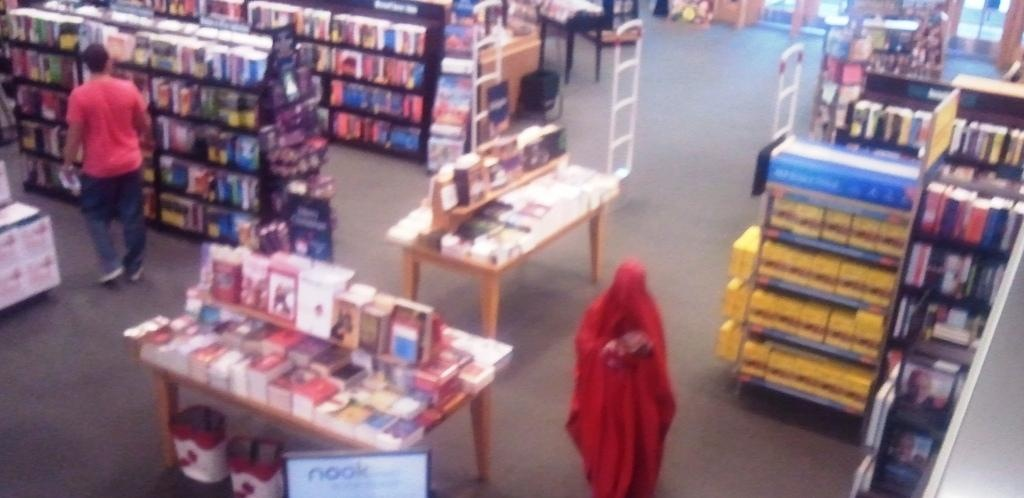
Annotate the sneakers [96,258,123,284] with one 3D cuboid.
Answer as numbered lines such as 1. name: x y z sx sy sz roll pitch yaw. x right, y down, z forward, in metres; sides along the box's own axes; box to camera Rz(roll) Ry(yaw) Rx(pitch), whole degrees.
1. sneakers: -5.615 0.304 11.167 0.425 0.171 0.223 -25 38 3

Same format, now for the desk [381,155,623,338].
1. desk: -0.076 0.040 10.625 1.245 1.367 2.289 28 44 31

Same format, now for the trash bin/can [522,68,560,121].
1. trash bin/can: 0.505 -2.927 15.186 0.714 0.913 0.704 25 40 29
